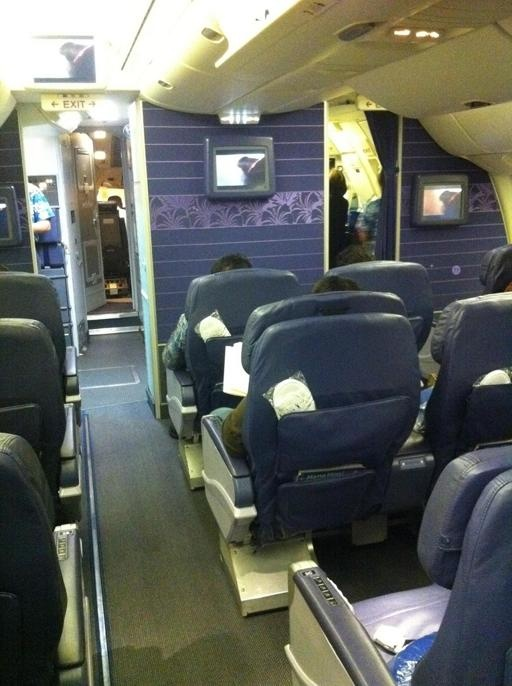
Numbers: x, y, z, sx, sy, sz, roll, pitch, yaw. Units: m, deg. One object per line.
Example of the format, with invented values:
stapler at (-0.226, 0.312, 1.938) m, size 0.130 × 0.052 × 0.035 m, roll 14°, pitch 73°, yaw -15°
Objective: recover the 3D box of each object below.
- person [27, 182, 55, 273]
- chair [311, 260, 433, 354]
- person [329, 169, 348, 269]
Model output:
person at (-2.068, -1.134, 5.229) m, size 0.228 × 0.793 × 0.397 m, roll -9°, pitch 14°, yaw -20°
chair at (0.600, -0.268, 2.541) m, size 0.505 × 0.431 × 0.455 m, roll -4°, pitch 19°, yaw -10°
person at (0.886, -1.391, 5.840) m, size 0.193 × 1.008 × 0.530 m, roll -1°, pitch 14°, yaw 14°
